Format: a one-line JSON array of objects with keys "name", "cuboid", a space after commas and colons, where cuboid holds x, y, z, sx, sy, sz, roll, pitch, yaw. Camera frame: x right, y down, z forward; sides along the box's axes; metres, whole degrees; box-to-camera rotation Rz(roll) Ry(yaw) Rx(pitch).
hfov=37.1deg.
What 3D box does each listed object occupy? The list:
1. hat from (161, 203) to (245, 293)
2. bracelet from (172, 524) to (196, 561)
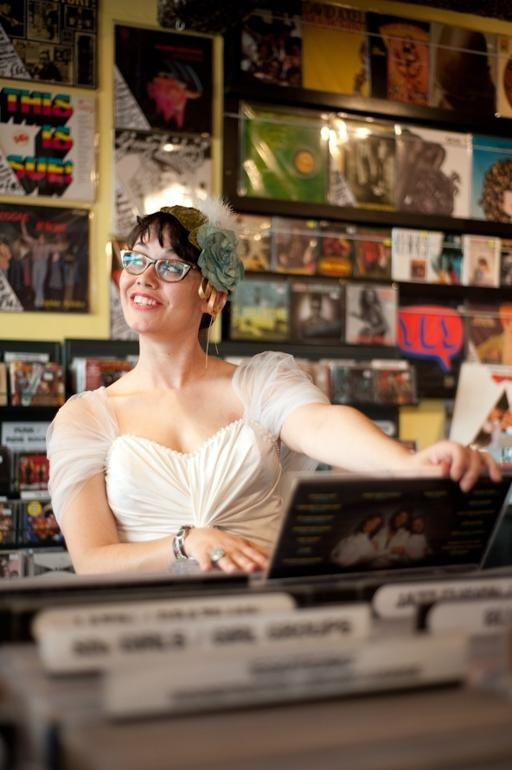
[{"name": "hat", "cuboid": [-0.162, -0.340, 1.836, 0.116, 0.206, 0.228, -13, -17, 35]}, {"name": "bracelet", "cuboid": [-0.127, 0.270, 1.299, 0.039, 0.048, 0.056, -9, 24, 6]}]
